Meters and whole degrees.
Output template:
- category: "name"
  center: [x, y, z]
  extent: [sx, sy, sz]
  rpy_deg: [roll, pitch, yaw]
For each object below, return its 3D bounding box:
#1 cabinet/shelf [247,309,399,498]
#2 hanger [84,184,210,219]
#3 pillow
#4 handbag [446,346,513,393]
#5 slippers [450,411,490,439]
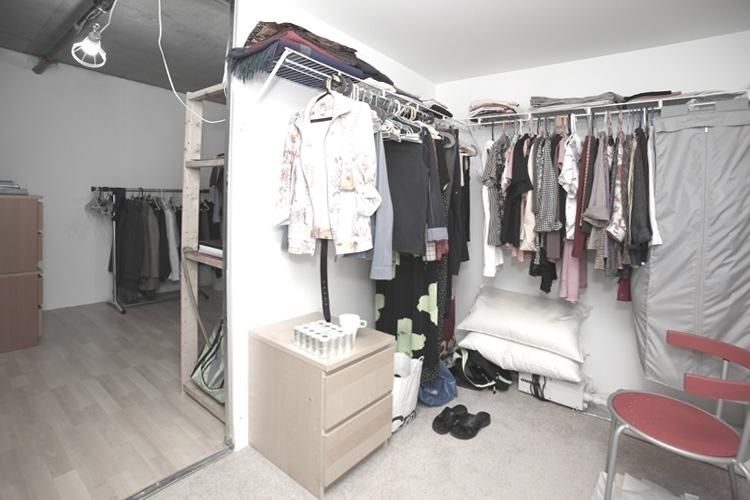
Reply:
- category: "cabinet/shelf"
  center: [-0.421, 1.129, 3.962]
  extent: [1.155, 1.157, 1.013]
  rpy_deg: [2, 3, 39]
- category: "hanger"
  center: [-2.893, -0.642, 6.243]
  extent: [1.397, 0.396, 0.754]
  rpy_deg: [-8, 13, -31]
- category: "pillow"
  center: [1.302, 0.743, 4.382]
  extent: [0.854, 0.295, 0.775]
  rpy_deg: [6, 44, 23]
- category: "handbag"
  center: [0.972, 1.101, 4.507]
  extent: [0.441, 0.196, 0.361]
  rpy_deg: [5, 22, 15]
- category: "slippers"
  center: [0.775, 1.434, 4.013]
  extent: [0.379, 0.097, 0.195]
  rpy_deg: [-11, 15, -40]
